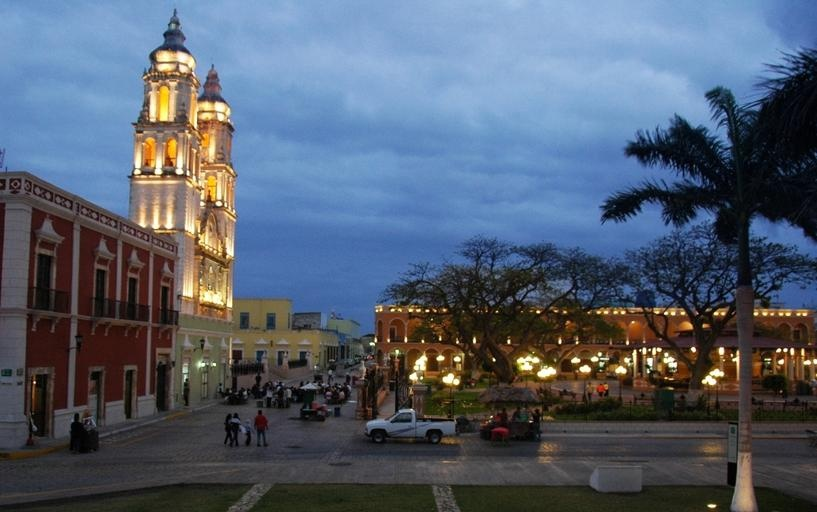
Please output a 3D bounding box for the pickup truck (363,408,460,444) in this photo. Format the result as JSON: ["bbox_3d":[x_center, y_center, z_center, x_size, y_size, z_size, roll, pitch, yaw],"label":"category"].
[{"bbox_3d":[0.210,9.344,50.035,4.350,1.400,2.019,2,-8,1],"label":"pickup truck"}]

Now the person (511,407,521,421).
[{"bbox_3d":[6.100,8.924,51.665,0.597,0.892,0.586,1,-2,-6],"label":"person"}]

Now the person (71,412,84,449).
[{"bbox_3d":[-16.826,9.003,47.009,0.652,1.887,0.804,4,-12,-21],"label":"person"}]

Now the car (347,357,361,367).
[{"bbox_3d":[-8.857,17.436,151.032,1.827,1.119,2.612,0,-10,-2],"label":"car"}]
